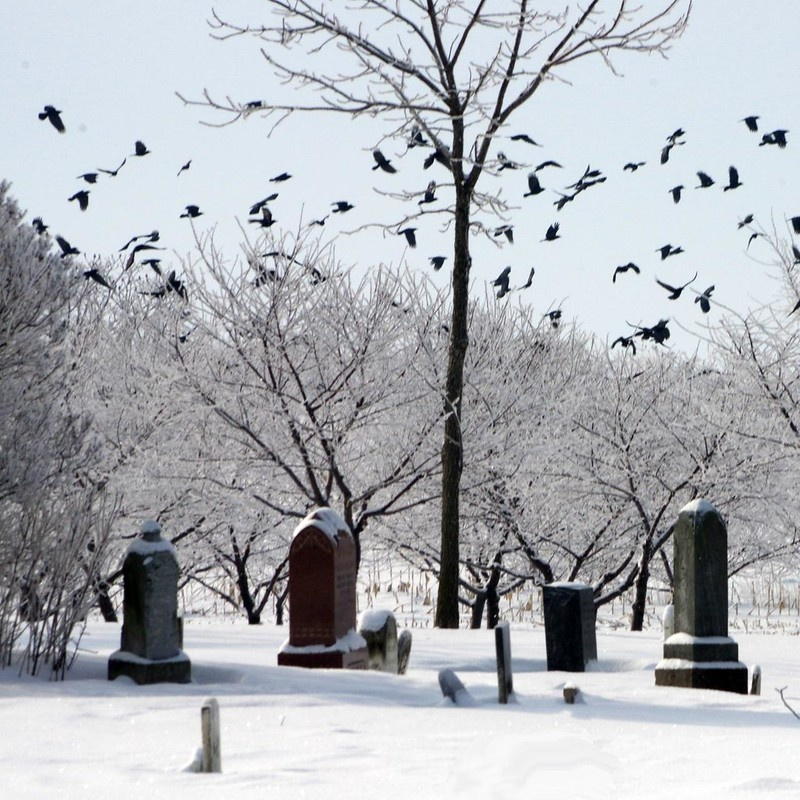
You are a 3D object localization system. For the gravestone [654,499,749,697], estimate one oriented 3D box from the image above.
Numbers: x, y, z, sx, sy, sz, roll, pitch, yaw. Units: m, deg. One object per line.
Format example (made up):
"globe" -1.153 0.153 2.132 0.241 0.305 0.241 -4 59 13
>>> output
"gravestone" 2.649 1.735 12.462 0.572 1.698 0.713 5 -12 -22

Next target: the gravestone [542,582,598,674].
"gravestone" 1.538 2.067 13.225 0.452 0.812 0.638 -2 -13 7

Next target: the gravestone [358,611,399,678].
"gravestone" -0.168 2.301 13.585 0.198 0.779 0.440 -4 -3 18

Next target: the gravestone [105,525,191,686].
"gravestone" -2.103 1.686 12.345 0.514 1.372 0.640 1 5 -2
